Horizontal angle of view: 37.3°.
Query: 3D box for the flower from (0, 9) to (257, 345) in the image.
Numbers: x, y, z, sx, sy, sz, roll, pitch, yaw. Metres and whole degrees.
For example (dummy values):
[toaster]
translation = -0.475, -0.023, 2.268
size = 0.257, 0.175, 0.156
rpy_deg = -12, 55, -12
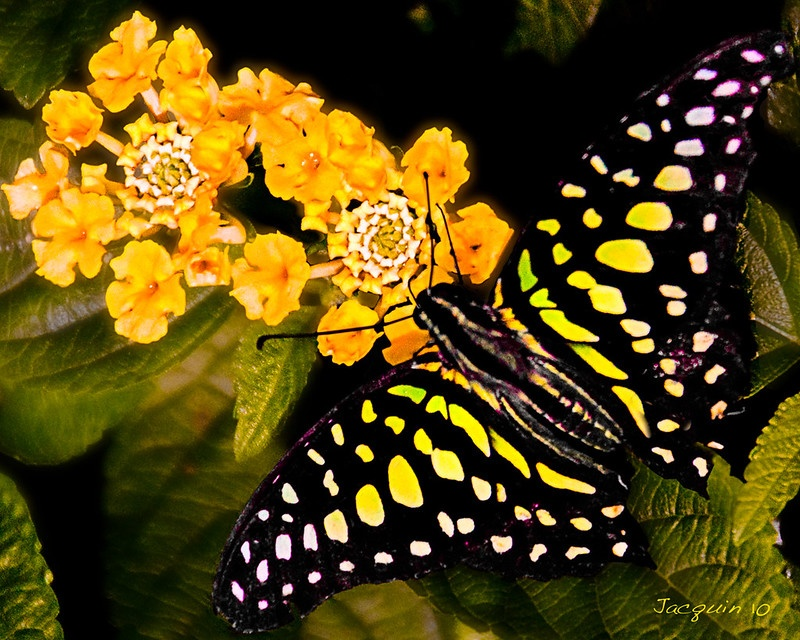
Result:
[flower]
translation = -0.341, -0.172, 1.663
size = 0.423, 0.149, 0.426
rpy_deg = -3, 86, 24
